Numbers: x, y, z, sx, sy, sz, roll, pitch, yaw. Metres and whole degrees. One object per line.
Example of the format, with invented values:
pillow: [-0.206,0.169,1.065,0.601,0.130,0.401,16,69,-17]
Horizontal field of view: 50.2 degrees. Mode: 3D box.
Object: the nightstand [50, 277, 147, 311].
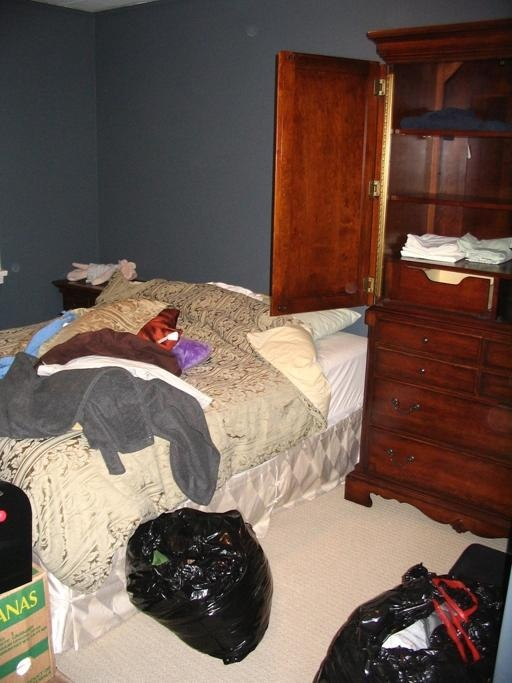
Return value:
nightstand: [-1.200,-0.450,4.339,0.655,0.256,0.533,16,22,33]
